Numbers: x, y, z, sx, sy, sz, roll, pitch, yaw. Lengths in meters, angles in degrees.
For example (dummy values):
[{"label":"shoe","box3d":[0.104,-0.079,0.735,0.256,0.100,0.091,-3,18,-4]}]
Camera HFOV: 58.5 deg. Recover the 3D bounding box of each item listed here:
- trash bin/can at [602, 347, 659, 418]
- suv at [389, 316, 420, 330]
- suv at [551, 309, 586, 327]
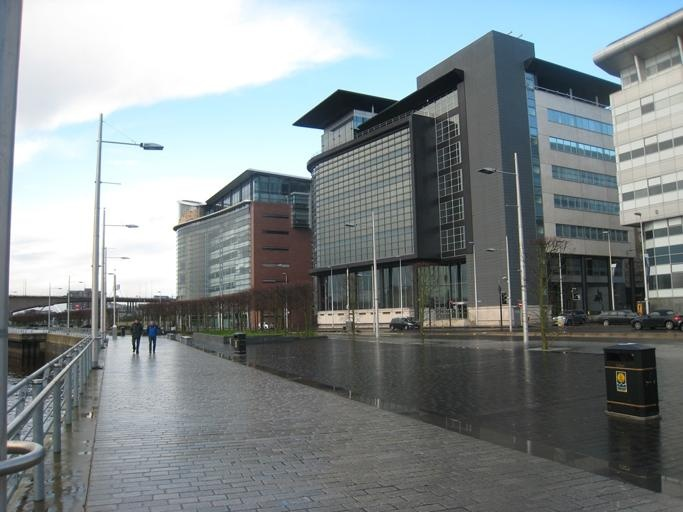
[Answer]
[{"label":"trash bin/can","box3d":[5.311,2.279,11.276,0.461,1.286,0.892,2,-7,-25]},{"label":"suv","box3d":[6.963,7.480,67.532,1.388,1.041,2.410,3,-14,-34]},{"label":"suv","box3d":[21.747,6.060,58.728,3.242,1.346,1.893,7,-13,-30]}]
